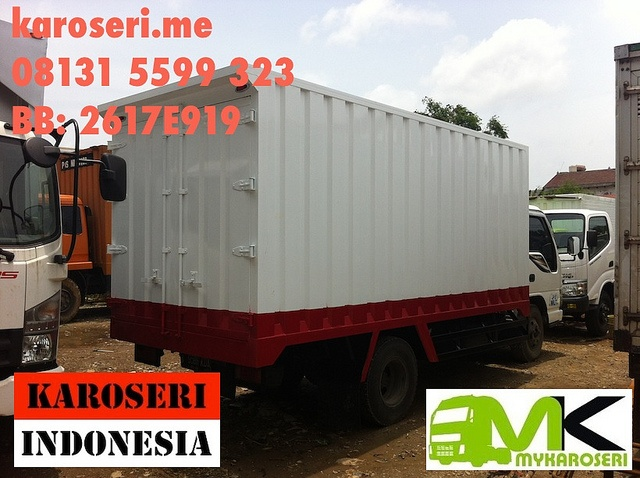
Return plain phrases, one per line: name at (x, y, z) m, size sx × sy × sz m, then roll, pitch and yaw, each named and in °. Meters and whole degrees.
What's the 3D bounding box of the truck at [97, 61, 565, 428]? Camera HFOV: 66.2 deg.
truck at (0.717, -0.016, 7.515) m, size 3.131 × 3.735 × 6.388 m, roll -2°, pitch 0°, yaw 43°
